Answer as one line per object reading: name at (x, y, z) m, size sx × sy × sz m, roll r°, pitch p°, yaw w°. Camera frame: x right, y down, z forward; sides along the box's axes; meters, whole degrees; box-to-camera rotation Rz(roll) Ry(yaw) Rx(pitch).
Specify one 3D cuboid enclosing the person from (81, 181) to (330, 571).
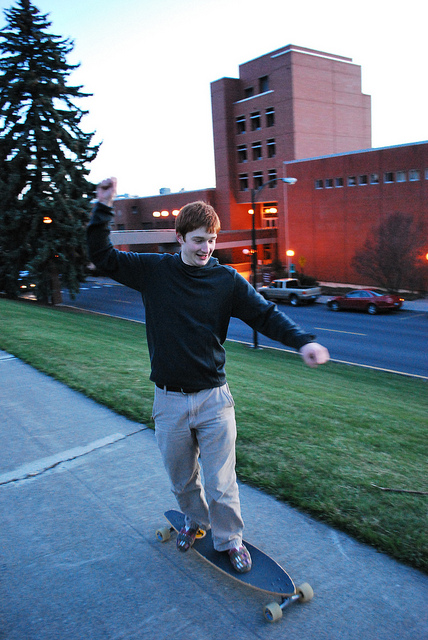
person at (-0.074, 0.289, 2.595) m, size 1.235 × 2.068 × 0.510 m, roll 3°, pitch 11°, yaw 20°

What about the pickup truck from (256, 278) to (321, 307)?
pickup truck at (4.852, -1.504, 31.604) m, size 4.283 × 1.766 × 2.401 m, roll 12°, pitch 17°, yaw 38°

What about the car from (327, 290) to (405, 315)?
car at (8.309, -1.121, 26.520) m, size 3.569 × 1.145 × 1.550 m, roll 7°, pitch 9°, yaw 37°
